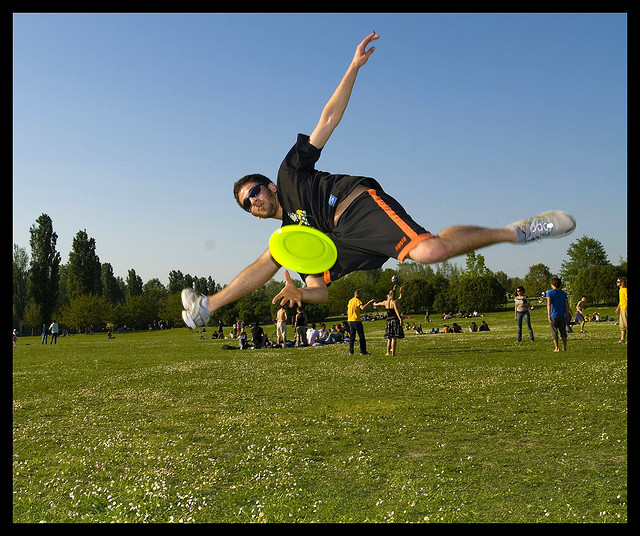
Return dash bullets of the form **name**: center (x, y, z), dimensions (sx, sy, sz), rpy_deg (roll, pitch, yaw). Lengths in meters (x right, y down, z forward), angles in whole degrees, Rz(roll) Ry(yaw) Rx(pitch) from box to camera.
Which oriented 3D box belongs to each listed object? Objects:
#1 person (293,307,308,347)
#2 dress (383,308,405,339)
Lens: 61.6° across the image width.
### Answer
- **person**: center (-0.996, 3.050, 27.734), dimensions (0.586, 2.032, 0.613), rpy_deg (-3, 11, 1)
- **dress**: center (2.558, 1.943, 18.757), dimensions (0.566, 1.069, 1.313), rpy_deg (-3, -5, 8)
